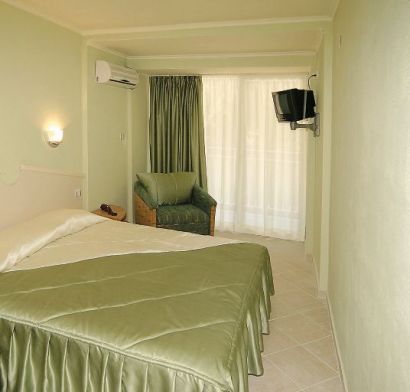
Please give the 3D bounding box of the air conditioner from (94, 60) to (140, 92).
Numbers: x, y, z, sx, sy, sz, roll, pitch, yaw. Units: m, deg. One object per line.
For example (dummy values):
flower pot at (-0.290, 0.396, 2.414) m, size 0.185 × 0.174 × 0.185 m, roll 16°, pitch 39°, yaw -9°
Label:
air conditioner at (-1.056, -1.489, 4.503) m, size 0.164 × 0.296 × 0.806 m, roll 13°, pitch 16°, yaw 11°

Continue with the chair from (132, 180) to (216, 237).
chair at (-0.368, 0.211, 4.934) m, size 0.974 × 1.020 × 1.133 m, roll -4°, pitch -2°, yaw -2°

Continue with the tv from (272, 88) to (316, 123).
tv at (0.853, -0.884, 3.560) m, size 0.346 × 0.338 × 0.384 m, roll 1°, pitch 19°, yaw 22°
